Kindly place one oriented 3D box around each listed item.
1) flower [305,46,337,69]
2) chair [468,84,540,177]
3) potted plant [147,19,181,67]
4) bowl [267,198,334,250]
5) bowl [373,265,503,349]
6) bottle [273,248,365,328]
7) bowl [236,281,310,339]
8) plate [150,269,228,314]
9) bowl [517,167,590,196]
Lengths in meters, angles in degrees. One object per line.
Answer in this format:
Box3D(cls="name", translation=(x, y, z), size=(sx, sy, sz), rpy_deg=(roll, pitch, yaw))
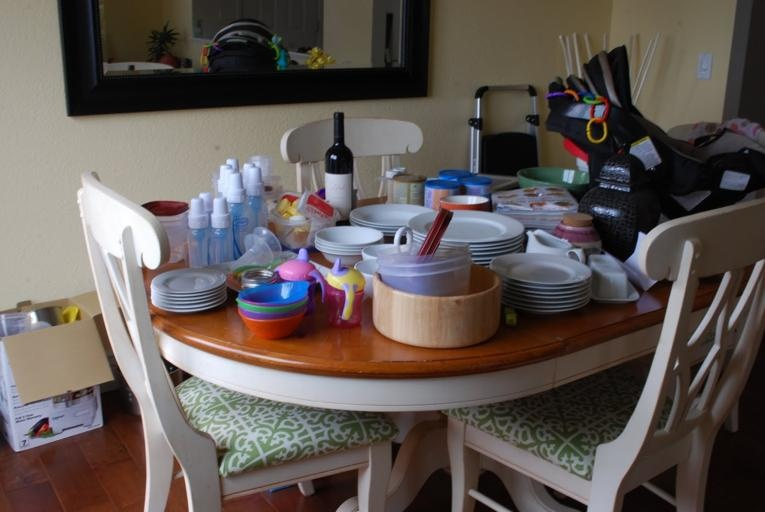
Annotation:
Box3D(cls="flower", translation=(-0.352, -1.097, 3.118), size=(0.119, 0.076, 0.120), rpy_deg=(-5, 9, -30))
Box3D(cls="chair", translation=(0.859, -0.860, 3.795), size=(0.663, 0.593, 0.259), rpy_deg=(-17, 22, -39))
Box3D(cls="potted plant", translation=(-1.051, -1.002, 2.721), size=(0.121, 0.207, 0.126), rpy_deg=(-11, 3, 24))
Box3D(cls="bowl", translation=(-0.270, -0.120, 1.851), size=(0.182, 0.130, 0.185), rpy_deg=(7, 13, -2))
Box3D(cls="bowl", translation=(0.127, 0.121, 1.473), size=(0.305, 0.131, 0.308), rpy_deg=(5, 11, -1))
Box3D(cls="bottle", translation=(-0.164, 0.053, 1.524), size=(0.119, 0.162, 0.281), rpy_deg=(-10, 30, -35))
Box3D(cls="bowl", translation=(-0.277, 0.116, 1.411), size=(0.151, 0.102, 0.131), rpy_deg=(-5, 14, -29))
Box3D(cls="plate", translation=(-0.519, 0.087, 1.531), size=(0.138, 0.050, 0.141), rpy_deg=(-1, 10, -1))
Box3D(cls="bowl", translation=(0.704, -0.312, 2.321), size=(0.297, 0.078, 0.367), rpy_deg=(8, 19, 32))
